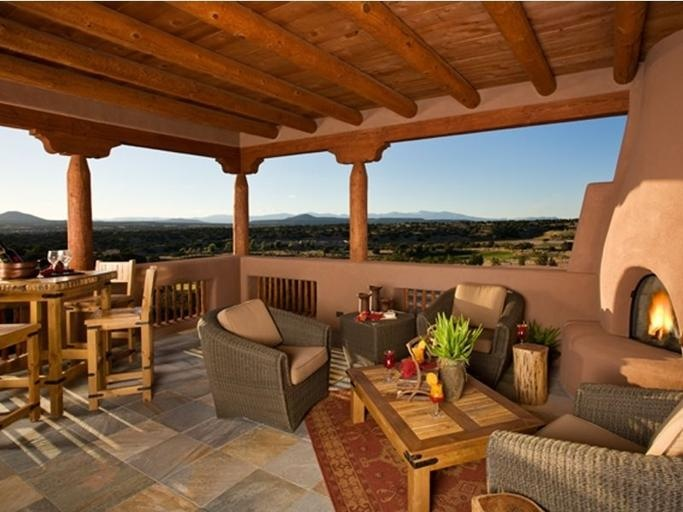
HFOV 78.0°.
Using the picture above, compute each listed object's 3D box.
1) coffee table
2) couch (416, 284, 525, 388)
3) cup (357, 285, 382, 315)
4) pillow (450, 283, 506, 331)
[{"bbox_3d":[0.815,1.121,3.068,0.899,0.428,1.229,-1,4,-21],"label":"coffee table"},{"bbox_3d":[1.425,0.918,5.115,1.376,1.105,1.238,1,-5,34],"label":"couch"},{"bbox_3d":[0.403,0.617,5.817,0.400,0.397,0.421,1,3,0],"label":"cup"},{"bbox_3d":[1.626,0.609,4.926,0.589,0.411,0.226,4,0,30],"label":"pillow"}]
